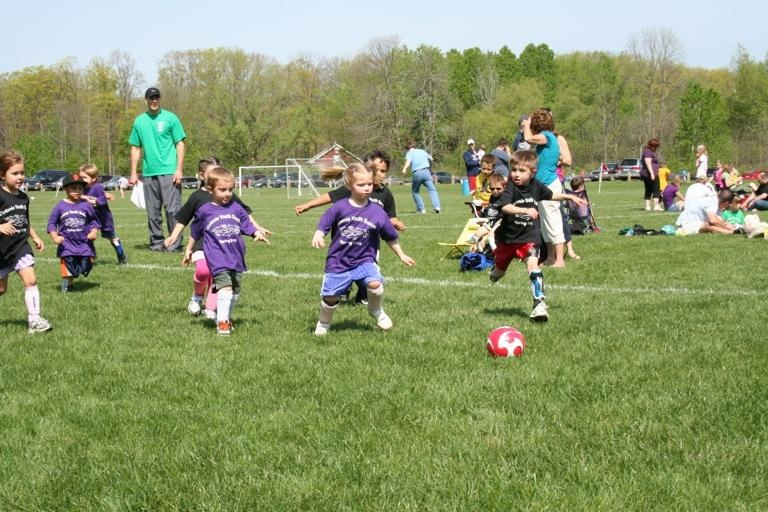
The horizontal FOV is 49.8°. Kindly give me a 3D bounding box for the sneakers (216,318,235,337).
[{"bbox_3d":[-1.653,0.754,8.612,0.166,0.095,0.232,4,-5,-6],"label":"sneakers"}]

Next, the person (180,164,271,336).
[{"bbox_3d":[-1.713,0.058,8.923,0.697,1.434,0.857,-4,6,-29],"label":"person"}]

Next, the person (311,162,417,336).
[{"bbox_3d":[-0.249,-0.011,8.611,0.977,1.612,0.587,-1,6,-6],"label":"person"}]

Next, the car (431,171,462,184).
[{"bbox_3d":[5.394,-6.349,68.045,1.190,0.856,2.628,11,13,41],"label":"car"}]

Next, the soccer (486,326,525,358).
[{"bbox_3d":[1.160,0.814,7.859,0.365,0.243,0.283,0,6,7],"label":"soccer"}]

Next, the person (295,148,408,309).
[{"bbox_3d":[-0.512,-0.042,9.773,1.451,2.105,0.758,-3,27,0],"label":"person"}]

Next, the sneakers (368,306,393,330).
[{"bbox_3d":[-0.031,0.673,8.663,0.156,0.299,0.129,-37,-15,1],"label":"sneakers"}]

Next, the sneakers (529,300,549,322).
[{"bbox_3d":[1.649,0.573,8.756,0.198,0.222,0.225,0,6,10],"label":"sneakers"}]

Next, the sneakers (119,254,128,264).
[{"bbox_3d":[-3.973,0.050,12.643,0.098,0.139,0.130,17,6,23],"label":"sneakers"}]

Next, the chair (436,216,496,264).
[{"bbox_3d":[1.380,-0.239,13.034,0.517,0.560,0.864,3,2,36],"label":"chair"}]

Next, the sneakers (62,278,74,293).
[{"bbox_3d":[-4.049,0.376,10.591,0.090,0.263,0.178,5,4,9],"label":"sneakers"}]

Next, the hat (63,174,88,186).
[{"bbox_3d":[-3.970,-0.955,10.590,0.278,0.171,0.265,-3,6,-23],"label":"hat"}]

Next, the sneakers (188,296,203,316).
[{"bbox_3d":[-2.147,0.556,9.462,0.113,0.136,0.298,23,12,-23],"label":"sneakers"}]

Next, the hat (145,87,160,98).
[{"bbox_3d":[-3.723,-2.620,13.311,0.214,0.206,0.456,-2,6,-16],"label":"hat"}]

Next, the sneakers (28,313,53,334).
[{"bbox_3d":[-3.626,0.701,8.722,0.230,0.177,0.237,-3,6,-24],"label":"sneakers"}]
